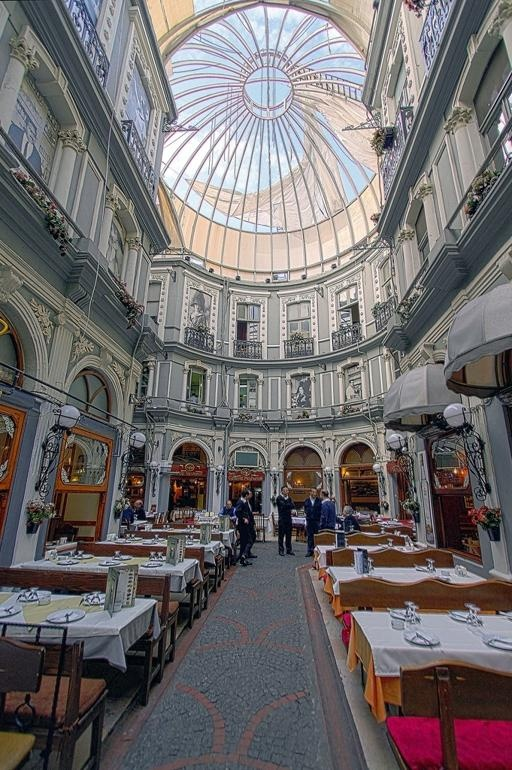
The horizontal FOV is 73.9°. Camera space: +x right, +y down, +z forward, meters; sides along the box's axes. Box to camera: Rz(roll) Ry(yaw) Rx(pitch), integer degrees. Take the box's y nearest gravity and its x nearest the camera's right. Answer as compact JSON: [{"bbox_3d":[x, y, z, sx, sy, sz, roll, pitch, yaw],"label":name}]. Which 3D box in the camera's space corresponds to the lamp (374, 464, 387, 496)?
[{"bbox_3d":[5.728,4.532,15.849,0.545,1.591,0.468,-6,4,21],"label":"lamp"}]

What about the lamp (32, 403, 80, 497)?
[{"bbox_3d":[-3.469,1.211,5.922,0.468,1.633,0.841,11,-23,-33],"label":"lamp"}]

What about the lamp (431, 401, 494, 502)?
[{"bbox_3d":[3.359,1.100,5.423,0.420,1.584,0.999,-15,-23,31],"label":"lamp"}]

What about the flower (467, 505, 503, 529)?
[{"bbox_3d":[3.290,1.989,5.024,0.381,0.362,0.374,-19,-27,23],"label":"flower"}]

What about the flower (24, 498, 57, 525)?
[{"bbox_3d":[-3.466,2.085,5.518,0.468,0.307,0.399,16,-18,-19],"label":"flower"}]

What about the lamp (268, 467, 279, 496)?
[{"bbox_3d":[0.962,5.683,19.191,0.556,1.655,0.350,-3,-19,0],"label":"lamp"}]

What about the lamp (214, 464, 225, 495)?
[{"bbox_3d":[-2.020,5.339,18.322,0.440,1.537,0.638,-2,-19,-2],"label":"lamp"}]
